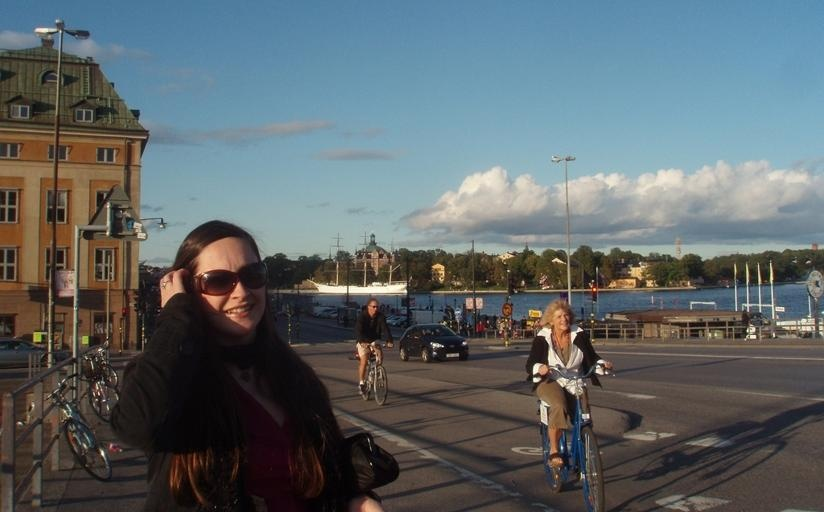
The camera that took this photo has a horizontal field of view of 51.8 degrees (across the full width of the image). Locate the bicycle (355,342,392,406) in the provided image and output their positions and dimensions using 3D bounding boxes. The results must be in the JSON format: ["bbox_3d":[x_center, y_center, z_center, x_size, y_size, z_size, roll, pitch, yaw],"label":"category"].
[{"bbox_3d":[-1.064,3.239,23.438,0.465,1.367,1.655,1,-4,-11],"label":"bicycle"}]

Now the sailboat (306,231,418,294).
[{"bbox_3d":[-15.443,1.248,181.823,28.704,16.333,14.006,0,-2,17],"label":"sailboat"}]

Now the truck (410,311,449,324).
[{"bbox_3d":[1.329,4.891,67.633,2.058,0.728,1.893,3,-7,-33],"label":"truck"}]

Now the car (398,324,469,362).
[{"bbox_3d":[0.840,3.698,36.489,1.832,1.525,3.650,-2,-3,-26],"label":"car"}]
